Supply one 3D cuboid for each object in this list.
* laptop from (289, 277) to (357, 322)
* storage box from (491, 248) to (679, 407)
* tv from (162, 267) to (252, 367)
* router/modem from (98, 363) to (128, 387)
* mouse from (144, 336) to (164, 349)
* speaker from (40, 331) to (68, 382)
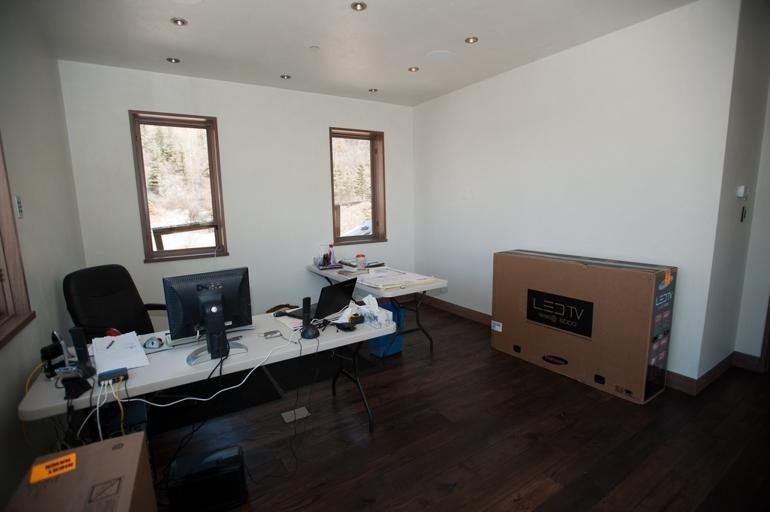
[{"bbox_3d":[-0.626,0.325,4.673,0.453,0.295,0.470,9,14,35],"label":"laptop"},{"bbox_3d":[2.106,0.629,5.502,0.611,1.286,1.770,-10,16,-39],"label":"storage box"},{"bbox_3d":[-1.496,0.547,4.206,0.737,0.753,0.254,-5,16,-23],"label":"tv"},{"bbox_3d":[-2.137,0.944,3.895,0.223,0.091,0.127,-8,12,-21],"label":"router/modem"},{"bbox_3d":[-1.987,0.743,4.273,0.105,0.033,0.103,3,17,-26],"label":"mouse"},{"bbox_3d":[-2.580,0.774,3.871,0.180,0.378,0.144,-11,14,-31],"label":"speaker"}]
